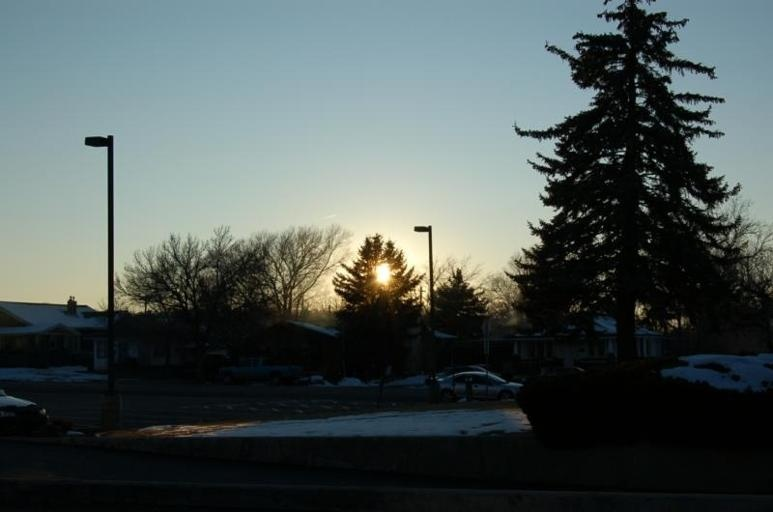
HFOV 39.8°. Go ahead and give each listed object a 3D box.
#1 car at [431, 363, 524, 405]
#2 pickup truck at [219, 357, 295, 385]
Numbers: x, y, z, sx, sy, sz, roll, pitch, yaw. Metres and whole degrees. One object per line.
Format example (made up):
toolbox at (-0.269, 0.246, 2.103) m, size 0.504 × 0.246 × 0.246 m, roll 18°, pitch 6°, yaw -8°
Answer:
car at (3.905, 5.450, 46.032) m, size 3.149 × 1.616 × 8.953 m, roll -2°, pitch -10°, yaw 3°
pickup truck at (-7.050, 6.580, 60.650) m, size 4.019 × 1.365 × 1.831 m, roll -4°, pitch -6°, yaw 21°
